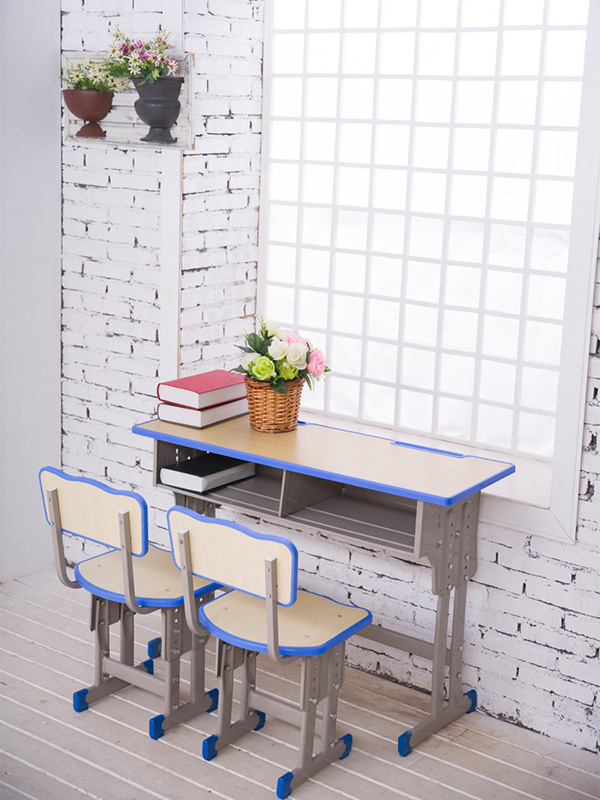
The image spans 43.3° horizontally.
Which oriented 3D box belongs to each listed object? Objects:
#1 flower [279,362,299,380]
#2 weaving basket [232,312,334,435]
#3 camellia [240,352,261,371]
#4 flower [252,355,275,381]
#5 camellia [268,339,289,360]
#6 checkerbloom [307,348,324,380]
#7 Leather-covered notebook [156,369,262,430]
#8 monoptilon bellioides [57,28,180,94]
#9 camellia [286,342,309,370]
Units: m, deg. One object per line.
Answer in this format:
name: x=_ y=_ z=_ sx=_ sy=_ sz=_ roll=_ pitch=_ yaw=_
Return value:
flower: x=-0.032 y=-0.085 z=2.151 sx=0.053 sy=0.047 sz=0.051 roll=5 pitch=-1 yaw=-38
weaving basket: x=-0.047 y=-0.077 z=2.211 sx=0.178 sy=0.355 sz=0.216 roll=17 pitch=18 yaw=35
camellia: x=-0.140 y=-0.119 z=2.168 sx=0.027 sy=0.046 sz=0.054 roll=33 pitch=31 yaw=-26
flower: x=-0.101 y=-0.090 z=2.138 sx=0.067 sy=0.074 sz=0.046 roll=1 pitch=8 yaw=-3
camellia: x=-0.050 y=-0.140 z=2.128 sx=0.061 sy=0.056 sz=0.029 roll=2 pitch=-16 yaw=-2
checkerbloom: x=0.052 y=-0.098 z=2.194 sx=0.036 sy=0.071 sz=0.070 roll=2 pitch=50 yaw=16
Leather-covered notebook: x=-0.283 y=-0.013 z=2.323 sx=0.170 sy=0.173 sz=0.291 roll=15 pitch=20 yaw=38
monoptilon bellioides: x=-0.598 y=-1.151 z=2.633 sx=0.588 sy=0.234 sz=0.158 roll=4 pitch=25 yaw=23
camellia: x=-0.005 y=-0.130 z=2.159 sx=0.063 sy=0.082 sz=0.064 roll=2 pitch=8 yaw=0
